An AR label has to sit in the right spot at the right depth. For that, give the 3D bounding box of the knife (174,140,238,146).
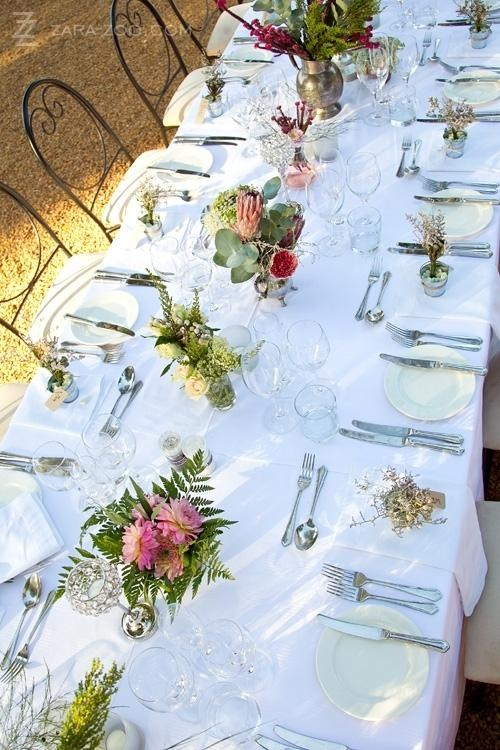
[{"bbox_3d":[-0.149,-0.827,2.232,0.202,0.036,0.021,4,100,12],"label":"knife"}]

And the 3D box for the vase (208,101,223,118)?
[{"bbox_3d":[-0.123,-1.002,2.373,0.061,0.065,0.061,-2,59,2],"label":"vase"}]

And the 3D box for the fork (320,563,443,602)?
[{"bbox_3d":[0.252,0.385,1.151,0.223,0.027,0.032,10,55,19],"label":"fork"}]

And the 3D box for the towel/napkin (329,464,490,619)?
[{"bbox_3d":[0.327,0.322,1.194,0.281,0.144,0.281,14,71,10],"label":"towel/napkin"}]

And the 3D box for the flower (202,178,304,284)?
[{"bbox_3d":[-0.021,-0.359,1.591,0.267,0.148,0.263,-18,47,-29],"label":"flower"}]

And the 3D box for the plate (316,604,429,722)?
[{"bbox_3d":[0.209,0.492,1.074,0.192,0.023,0.188,0,49,16],"label":"plate"}]

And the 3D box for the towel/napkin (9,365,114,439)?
[{"bbox_3d":[-0.474,0.073,1.728,0.185,0.045,0.185,10,69,17],"label":"towel/napkin"}]

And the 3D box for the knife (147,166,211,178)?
[{"bbox_3d":[-0.236,-0.700,2.156,0.227,0.026,0.025,14,81,19],"label":"knife"}]

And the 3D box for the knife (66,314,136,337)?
[{"bbox_3d":[-0.423,-0.140,1.790,0.193,0.015,0.029,17,84,26],"label":"knife"}]

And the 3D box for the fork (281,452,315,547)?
[{"bbox_3d":[0.103,0.255,1.308,0.038,0.029,0.266,-13,46,41],"label":"fork"}]

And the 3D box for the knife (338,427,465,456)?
[{"bbox_3d":[0.333,0.143,1.322,0.215,0.018,0.035,9,62,22],"label":"knife"}]

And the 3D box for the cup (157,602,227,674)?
[{"bbox_3d":[-0.101,0.457,1.128,0.071,0.065,0.124,-33,46,-14],"label":"cup"}]

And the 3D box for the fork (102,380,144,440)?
[{"bbox_3d":[-0.313,0.088,1.532,0.030,0.028,0.209,9,45,17],"label":"fork"}]

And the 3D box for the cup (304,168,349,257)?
[{"bbox_3d":[0.218,-0.450,1.751,0.116,0.241,0.123,-5,57,8],"label":"cup"}]

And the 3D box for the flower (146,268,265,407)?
[{"bbox_3d":[-0.104,-0.081,1.508,0.221,0.278,0.204,25,58,25],"label":"flower"}]

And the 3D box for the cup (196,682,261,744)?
[{"bbox_3d":[-0.037,0.568,1.062,0.086,0.081,0.083,1,87,-20],"label":"cup"}]

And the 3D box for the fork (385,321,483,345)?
[{"bbox_3d":[0.448,-0.097,1.487,0.172,0.026,0.025,11,73,14],"label":"fork"}]

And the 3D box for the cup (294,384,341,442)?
[{"bbox_3d":[0.155,0.093,1.390,0.109,0.127,0.116,-6,66,13],"label":"cup"}]

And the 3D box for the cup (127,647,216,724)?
[{"bbox_3d":[-0.127,0.526,1.058,0.070,0.113,0.117,-48,56,-7],"label":"cup"}]

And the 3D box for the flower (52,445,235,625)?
[{"bbox_3d":[-0.204,0.353,1.258,0.317,0.155,0.342,42,64,4],"label":"flower"}]

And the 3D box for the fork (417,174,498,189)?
[{"bbox_3d":[0.604,-0.552,1.789,0.218,0.032,0.036,8,62,12],"label":"fork"}]

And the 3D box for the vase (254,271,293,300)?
[{"bbox_3d":[0.060,-0.236,1.685,0.072,0.065,0.075,-1,46,4],"label":"vase"}]

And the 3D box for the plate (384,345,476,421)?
[{"bbox_3d":[0.401,0.034,1.390,0.201,0.022,0.164,-1,49,16],"label":"plate"}]

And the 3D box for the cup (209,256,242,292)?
[{"bbox_3d":[-0.084,-0.286,1.774,0.070,0.136,0.075,-1,79,3],"label":"cup"}]

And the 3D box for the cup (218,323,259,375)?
[{"bbox_3d":[-0.026,-0.053,1.403,0.083,0.100,0.083,-3,82,20],"label":"cup"}]

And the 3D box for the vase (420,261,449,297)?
[{"bbox_3d":[0.460,-0.237,1.543,0.071,0.077,0.089,-2,56,17],"label":"vase"}]

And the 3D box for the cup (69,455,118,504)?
[{"bbox_3d":[-0.346,0.229,1.393,0.083,0.130,0.082,-10,50,12],"label":"cup"}]

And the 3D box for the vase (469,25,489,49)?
[{"bbox_3d":[0.803,-1.170,2.176,0.071,0.078,0.076,-2,51,12],"label":"vase"}]

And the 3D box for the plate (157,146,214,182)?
[{"bbox_3d":[-0.226,-0.735,2.215,0.188,0.034,0.143,9,61,12],"label":"plate"}]

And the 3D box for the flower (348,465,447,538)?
[{"bbox_3d":[0.276,0.244,1.197,0.144,0.063,0.136,-1,84,16],"label":"flower"}]

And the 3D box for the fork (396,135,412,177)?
[{"bbox_3d":[0.478,-0.676,1.928,0.034,0.025,0.239,3,60,21],"label":"fork"}]

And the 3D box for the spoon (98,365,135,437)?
[{"bbox_3d":[-0.336,0.070,1.565,0.038,0.031,0.208,-5,48,23],"label":"spoon"}]

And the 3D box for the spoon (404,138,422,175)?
[{"bbox_3d":[0.492,-0.660,1.895,0.037,0.031,0.179,2,46,17],"label":"spoon"}]

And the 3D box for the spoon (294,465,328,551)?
[{"bbox_3d":[0.129,0.267,1.281,0.041,0.026,0.193,7,47,18],"label":"spoon"}]

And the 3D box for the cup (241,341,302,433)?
[{"bbox_3d":[0.052,0.029,1.400,0.079,0.185,0.087,12,67,25],"label":"cup"}]

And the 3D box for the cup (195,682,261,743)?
[{"bbox_3d":[-0.033,0.570,1.061,0.085,0.081,0.085,1,85,-17],"label":"cup"}]

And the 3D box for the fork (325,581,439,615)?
[{"bbox_3d":[0.249,0.406,1.134,0.231,0.026,0.032,8,63,22],"label":"fork"}]

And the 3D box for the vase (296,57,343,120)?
[{"bbox_3d":[0.238,-0.942,2.067,0.146,0.198,0.192,-4,77,16],"label":"vase"}]

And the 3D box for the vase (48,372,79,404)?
[{"bbox_3d":[-0.494,0.031,1.667,0.075,0.077,0.081,4,59,-2],"label":"vase"}]

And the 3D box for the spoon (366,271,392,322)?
[{"bbox_3d":[0.329,-0.200,1.587,0.041,0.023,0.173,5,53,25],"label":"spoon"}]
